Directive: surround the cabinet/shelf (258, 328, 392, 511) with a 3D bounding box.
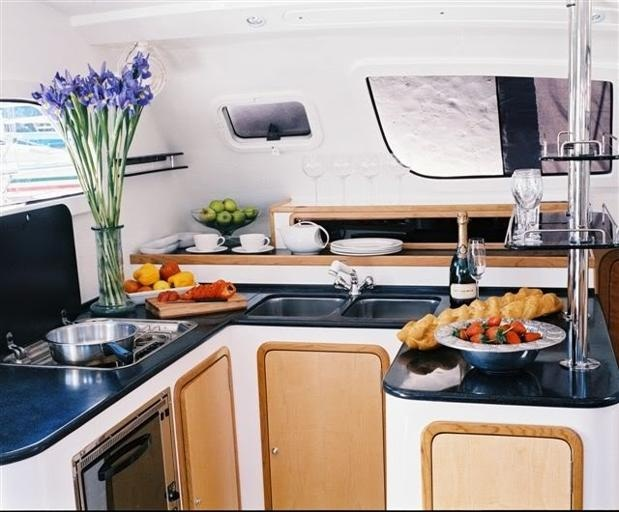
[{"bbox_3d":[0.053,0.700,2.191,0.526,0.706,0.161,0,14,17],"label":"cabinet/shelf"}]

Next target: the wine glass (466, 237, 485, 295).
[{"bbox_3d":[0.618,0.017,2.011,0.055,0.180,0.143,0,13,19],"label":"wine glass"}]

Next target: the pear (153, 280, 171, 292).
[{"bbox_3d":[-0.715,0.142,2.597,0.067,0.055,0.072,-16,0,-4],"label":"pear"}]

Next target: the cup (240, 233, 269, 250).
[{"bbox_3d":[-0.313,-0.083,2.965,0.137,0.059,0.097,0,12,0],"label":"cup"}]

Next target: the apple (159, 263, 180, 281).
[{"bbox_3d":[-0.703,0.078,2.744,0.097,0.098,0.095,-6,-1,33],"label":"apple"}]

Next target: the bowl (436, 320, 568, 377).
[{"bbox_3d":[0.549,0.269,1.574,0.353,0.130,0.264,-1,12,11],"label":"bowl"}]

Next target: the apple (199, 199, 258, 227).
[{"bbox_3d":[-0.482,-0.256,3.172,0.237,0.098,0.204,-6,10,-23],"label":"apple"}]

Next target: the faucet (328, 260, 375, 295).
[{"bbox_3d":[0.186,0.121,2.580,0.195,0.115,0.214,-3,1,19],"label":"faucet"}]

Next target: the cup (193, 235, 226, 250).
[{"bbox_3d":[-0.567,-0.082,2.989,0.139,0.056,0.099,0,8,-4],"label":"cup"}]

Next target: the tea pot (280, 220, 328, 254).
[{"bbox_3d":[-0.026,-0.080,2.869,0.258,0.146,0.196,-5,-2,20],"label":"tea pot"}]

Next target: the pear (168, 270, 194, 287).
[{"bbox_3d":[-0.625,0.112,2.653,0.126,0.076,0.084,-8,9,12],"label":"pear"}]

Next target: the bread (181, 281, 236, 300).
[{"bbox_3d":[-0.469,0.155,2.443,0.181,0.060,0.099,-3,7,-5],"label":"bread"}]

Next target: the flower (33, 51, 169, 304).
[{"bbox_3d":[-0.868,-0.329,2.324,0.464,1.094,0.653,-8,14,-14],"label":"flower"}]

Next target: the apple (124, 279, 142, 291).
[{"bbox_3d":[-0.866,0.137,2.603,0.054,0.030,0.059,9,18,1],"label":"apple"}]

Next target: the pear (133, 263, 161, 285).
[{"bbox_3d":[-0.788,0.087,2.654,0.098,0.088,0.123,0,9,26],"label":"pear"}]

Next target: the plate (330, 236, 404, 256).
[{"bbox_3d":[0.299,-0.053,2.865,0.353,0.057,0.349,2,12,24],"label":"plate"}]
